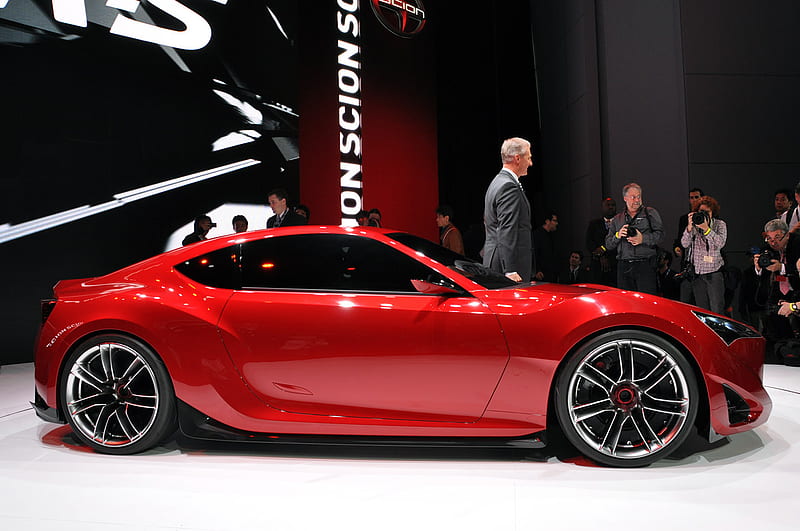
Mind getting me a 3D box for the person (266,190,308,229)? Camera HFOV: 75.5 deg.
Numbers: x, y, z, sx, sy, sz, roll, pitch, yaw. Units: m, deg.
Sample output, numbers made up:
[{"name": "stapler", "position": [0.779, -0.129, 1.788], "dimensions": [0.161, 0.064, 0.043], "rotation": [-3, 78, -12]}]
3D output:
[{"name": "person", "position": [-1.651, -0.759, 7.309], "dimensions": [0.369, 0.594, 0.700], "rotation": [-5, 12, -36]}]
